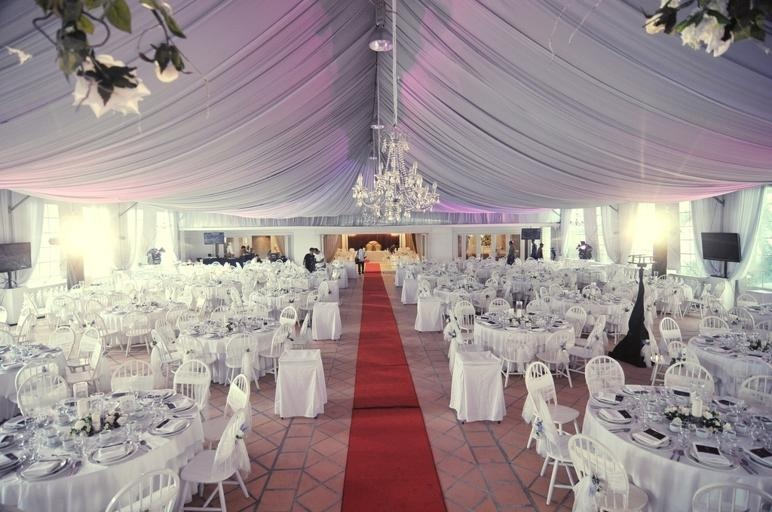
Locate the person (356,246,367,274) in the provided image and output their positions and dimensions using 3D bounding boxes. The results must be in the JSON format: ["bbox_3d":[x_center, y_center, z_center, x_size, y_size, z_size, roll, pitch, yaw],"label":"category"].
[{"bbox_3d":[-1.441,0.322,25.324,0.450,1.281,0.683,0,-1,12],"label":"person"}]

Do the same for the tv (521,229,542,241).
[{"bbox_3d":[7.216,-0.946,24.106,1.054,0.724,0.590,-1,-4,5],"label":"tv"}]
